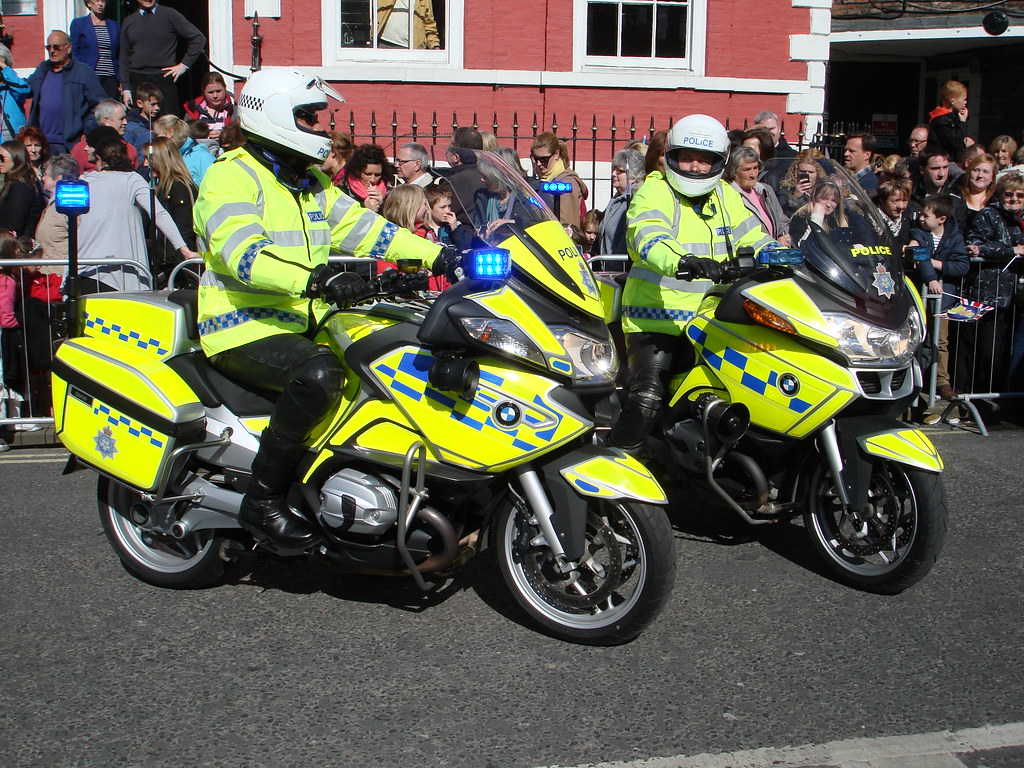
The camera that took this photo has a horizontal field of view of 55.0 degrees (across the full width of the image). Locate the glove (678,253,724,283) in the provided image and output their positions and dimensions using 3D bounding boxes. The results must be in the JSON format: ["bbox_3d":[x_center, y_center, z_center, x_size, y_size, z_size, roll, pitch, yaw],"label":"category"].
[{"bbox_3d":[0.965,-0.589,5.097,0.243,0.137,0.235,5,14,21],"label":"glove"}]

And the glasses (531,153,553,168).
[{"bbox_3d":[0.333,-2.232,9.884,0.153,0.150,0.053,-2,32,37],"label":"glasses"}]

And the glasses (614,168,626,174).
[{"bbox_3d":[1.057,-2.041,9.514,0.081,0.024,0.082,14,-3,25],"label":"glasses"}]

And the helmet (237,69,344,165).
[{"bbox_3d":[-1.050,-1.268,4.789,0.562,0.428,0.391,6,2,2],"label":"helmet"}]

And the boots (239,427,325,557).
[{"bbox_3d":[-1.063,0.551,4.649,0.441,0.586,0.176,33,51,-3],"label":"boots"}]

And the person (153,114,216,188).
[{"bbox_3d":[-3.228,-2.260,9.796,0.362,0.787,0.255,-9,43,-2],"label":"person"}]

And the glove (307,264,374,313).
[{"bbox_3d":[-0.738,-0.402,4.210,0.236,0.090,0.178,21,13,37],"label":"glove"}]

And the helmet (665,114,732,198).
[{"bbox_3d":[1.082,-1.327,5.690,0.390,0.397,0.458,10,31,11],"label":"helmet"}]

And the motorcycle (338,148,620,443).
[{"bbox_3d":[0.069,-0.401,4.525,0.879,1.290,0.625,6,14,23],"label":"motorcycle"}]
